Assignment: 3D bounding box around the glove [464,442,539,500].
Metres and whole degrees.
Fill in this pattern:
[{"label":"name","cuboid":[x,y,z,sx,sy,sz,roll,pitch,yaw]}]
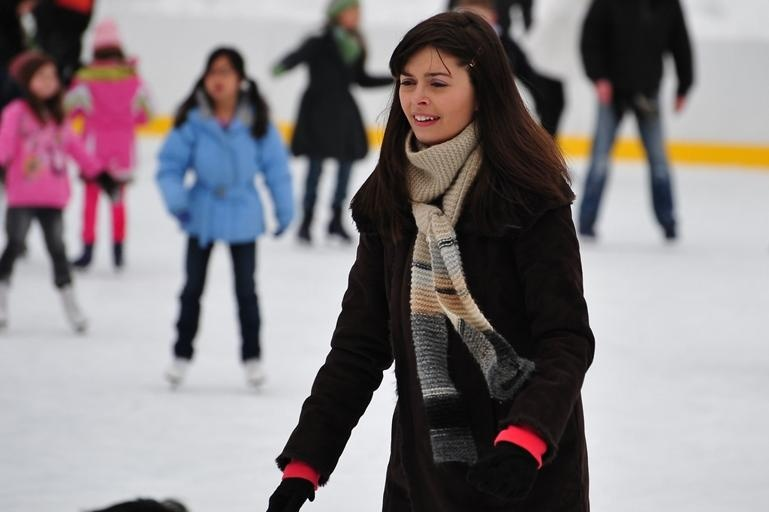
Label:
[{"label":"glove","cuboid":[0.507,0.909,4.952,0.289,0.226,0.096,4,12,10]}]
